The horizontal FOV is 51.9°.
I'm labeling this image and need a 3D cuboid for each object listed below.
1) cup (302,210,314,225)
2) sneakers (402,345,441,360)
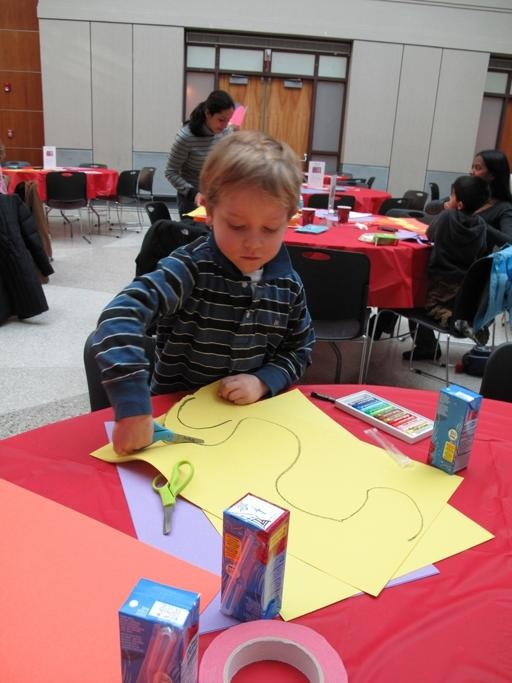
[{"bbox_3d":[0.286,-0.725,3.043,0.088,0.083,0.082,0,28,0],"label":"cup"},{"bbox_3d":[1.022,0.070,3.201,0.230,0.081,0.095,2,5,-1],"label":"sneakers"}]
